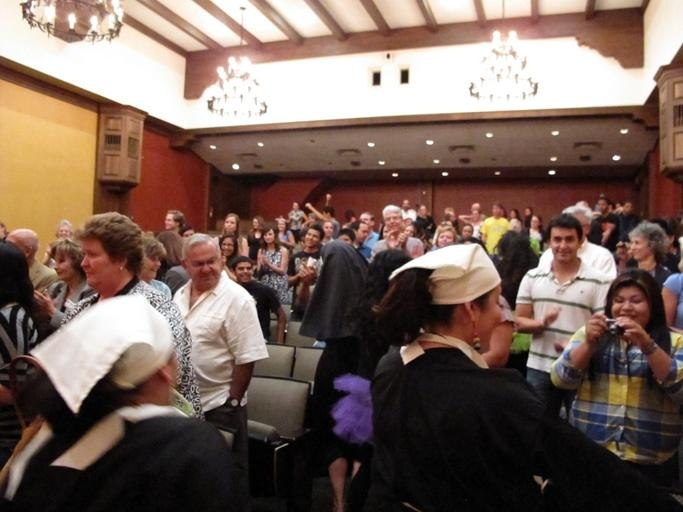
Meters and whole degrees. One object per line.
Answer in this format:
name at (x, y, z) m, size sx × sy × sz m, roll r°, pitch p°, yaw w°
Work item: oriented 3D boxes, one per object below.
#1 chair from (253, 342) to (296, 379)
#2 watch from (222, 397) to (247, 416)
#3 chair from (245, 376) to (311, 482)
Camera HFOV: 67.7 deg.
chair at (-0.512, 0.814, 3.993) m, size 0.270 × 0.390 × 0.306 m, roll 0°, pitch -20°, yaw 9°
watch at (-0.598, 0.835, 2.820) m, size 0.107 × 0.084 × 0.082 m, roll -2°, pitch 1°, yaw 0°
chair at (-0.442, 0.950, 3.093) m, size 0.334 × 0.439 × 0.393 m, roll 1°, pitch -18°, yaw 10°
